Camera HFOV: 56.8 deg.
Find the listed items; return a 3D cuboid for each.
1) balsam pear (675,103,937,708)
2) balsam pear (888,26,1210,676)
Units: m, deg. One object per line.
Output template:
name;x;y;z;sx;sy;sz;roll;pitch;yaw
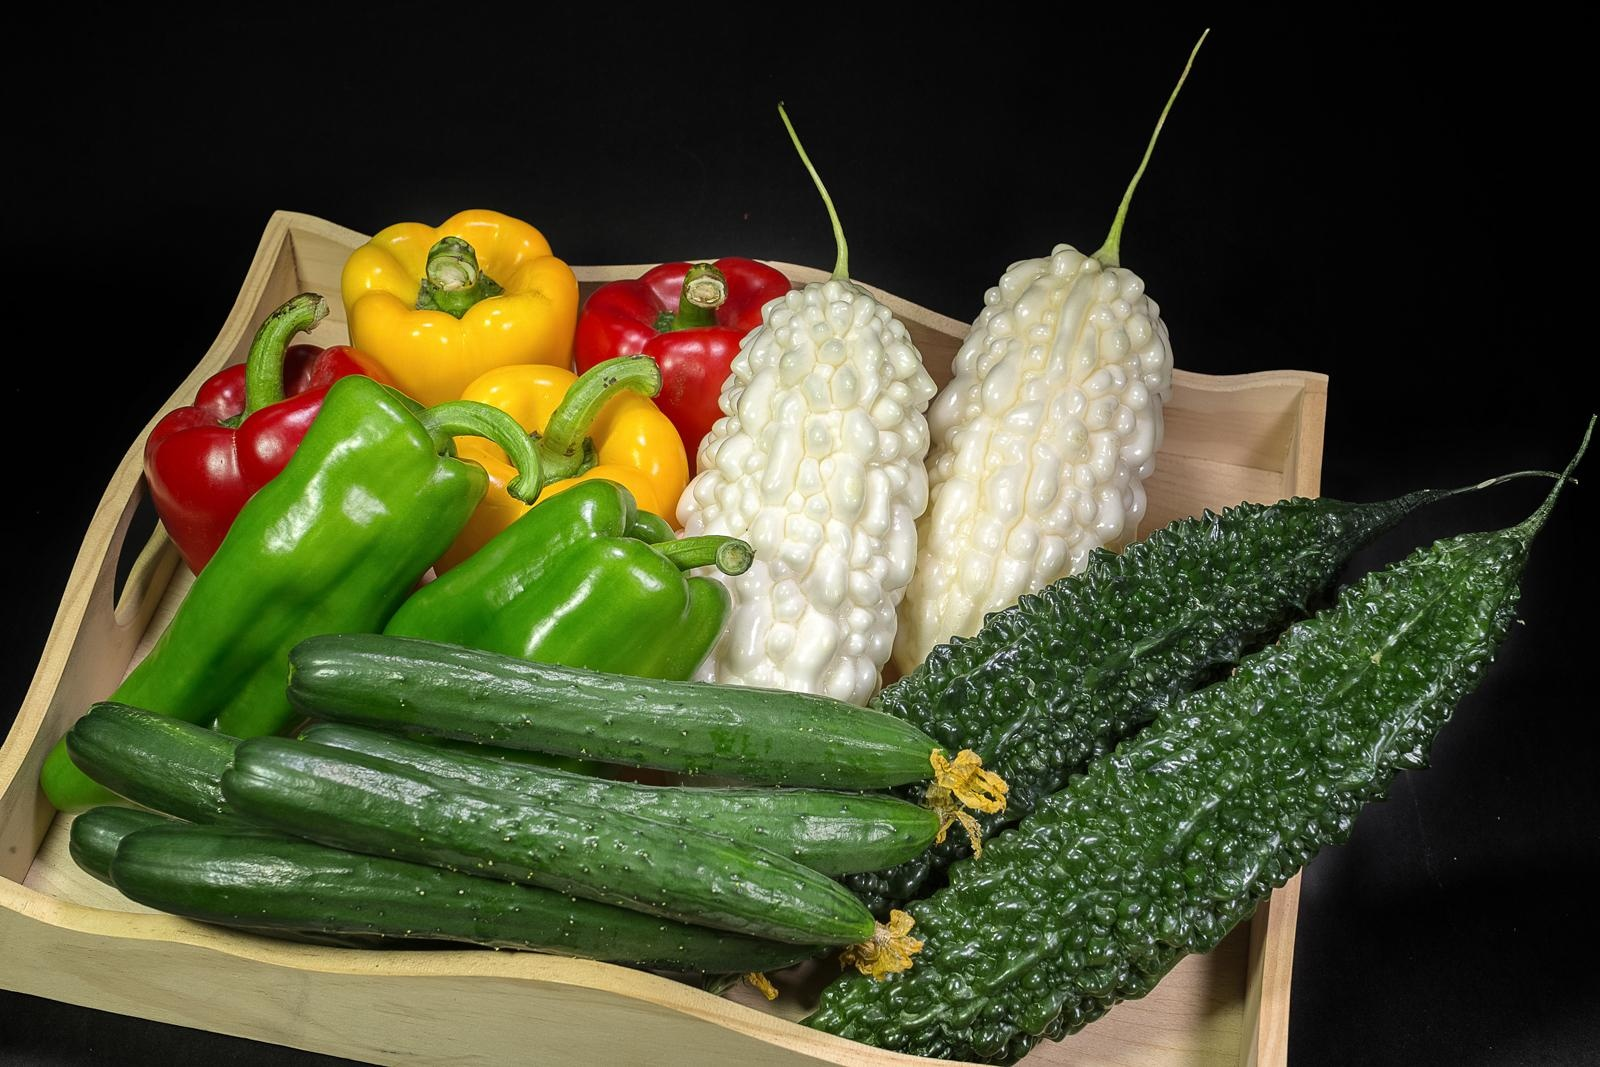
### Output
balsam pear;0.023;-0.312;3.524;0.565;1.434;0.524;0;-6;-1
balsam pear;0.609;-0.274;3.898;0.622;1.927;0.591;20;-12;14
